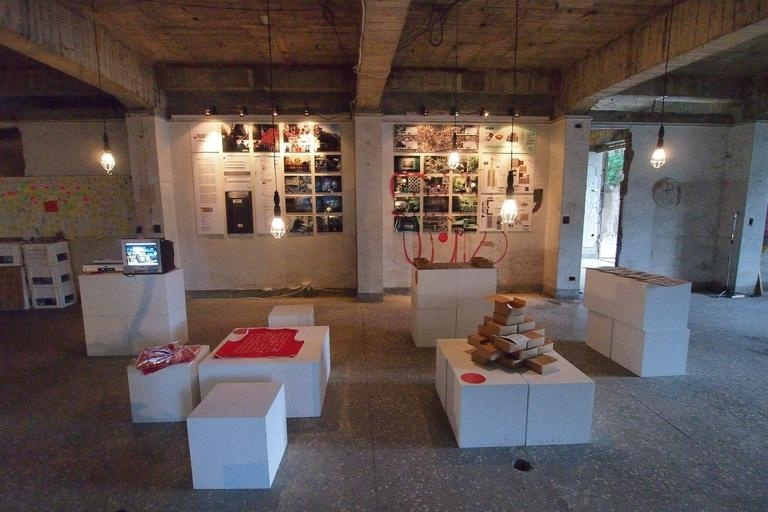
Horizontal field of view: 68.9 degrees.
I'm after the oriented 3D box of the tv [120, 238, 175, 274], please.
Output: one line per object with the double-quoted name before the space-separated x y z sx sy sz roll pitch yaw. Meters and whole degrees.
"tv" -3.754 0.027 8.946 0.900 0.550 0.566 0 0 -5
